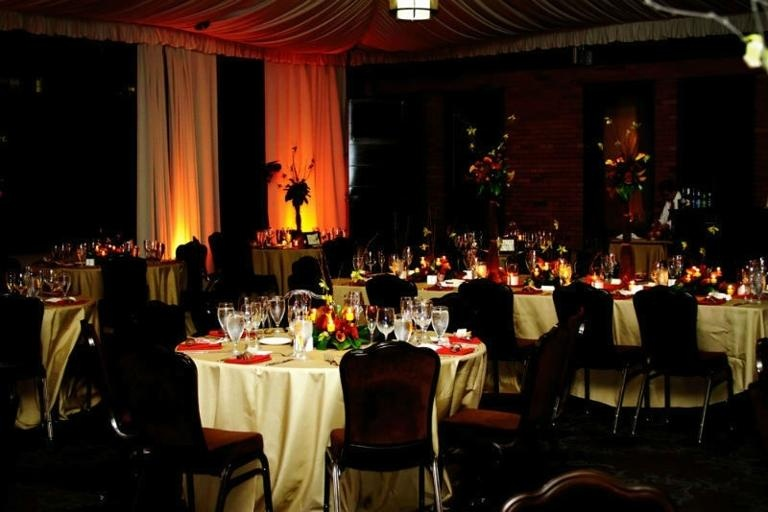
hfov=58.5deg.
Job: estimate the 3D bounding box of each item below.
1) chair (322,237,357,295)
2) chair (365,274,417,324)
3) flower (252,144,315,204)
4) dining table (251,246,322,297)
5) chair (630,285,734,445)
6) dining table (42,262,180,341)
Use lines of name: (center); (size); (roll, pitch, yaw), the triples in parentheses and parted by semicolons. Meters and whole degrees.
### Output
chair: (-0.594, 0.096, 9.385); (0.538, 1.092, 0.589); (1, 3, -1)
chair: (0.070, 0.414, 6.864); (0.361, 0.554, 0.411); (4, 5, 27)
flower: (-1.628, -1.378, 12.129); (1.059, 1.289, 1.019); (-12, 10, -32)
dining table: (-1.522, 0.095, 10.691); (0.842, 0.959, 0.838); (-4, 9, -31)
chair: (2.710, 0.954, 6.238); (0.863, 1.350, 0.486); (2, 5, 12)
dining table: (-3.311, 0.476, 8.920); (1.089, 0.784, 1.184); (-2, -4, 23)
